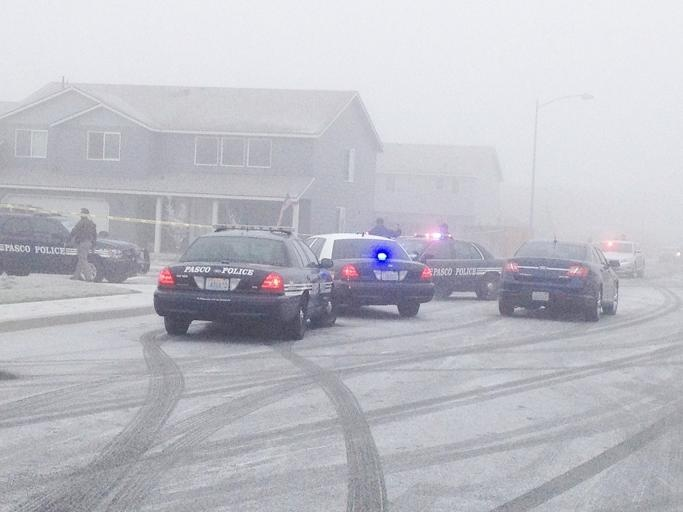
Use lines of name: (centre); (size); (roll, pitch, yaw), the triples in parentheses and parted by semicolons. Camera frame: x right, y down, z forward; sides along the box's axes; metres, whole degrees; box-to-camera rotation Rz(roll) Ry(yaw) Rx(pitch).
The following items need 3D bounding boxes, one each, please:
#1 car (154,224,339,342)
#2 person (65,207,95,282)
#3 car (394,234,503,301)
car: (-1.252, 0.349, 12.495); (1.352, 1.112, 3.050); (1, 3, 10)
person: (-7.240, -0.239, 21.029); (0.643, 2.016, 0.933); (0, 0, -21)
car: (2.883, 0.323, 20.075); (2.973, 1.149, 1.277); (5, -4, -30)
